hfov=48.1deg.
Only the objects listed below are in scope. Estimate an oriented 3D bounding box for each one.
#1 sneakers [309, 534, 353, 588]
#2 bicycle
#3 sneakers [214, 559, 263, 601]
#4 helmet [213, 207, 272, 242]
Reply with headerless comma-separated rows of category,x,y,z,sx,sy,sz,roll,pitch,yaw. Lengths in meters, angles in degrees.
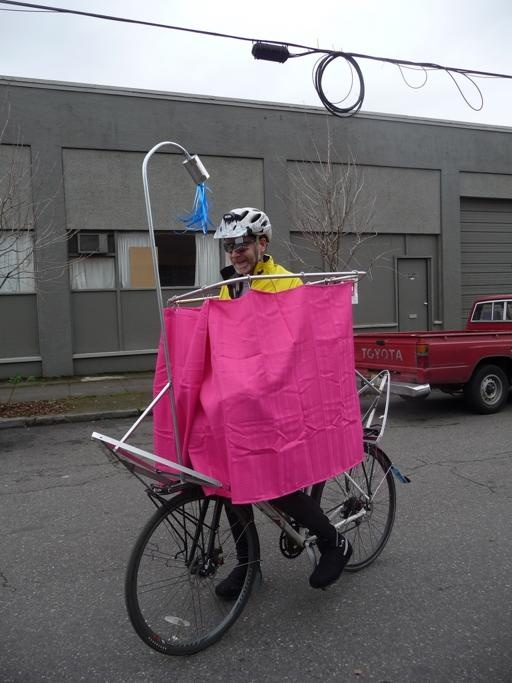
sneakers,0.388,1.107,2.928,0.142,0.128,0.343,-9,13,33
bicycle,-0.032,0.932,3.066,1.518,0.967,0.770,1,-6,-39
sneakers,-0.046,1.128,2.773,0.282,0.124,0.135,-24,-5,-32
helmet,-0.026,-0.585,2.783,0.161,0.114,0.234,-1,1,41
